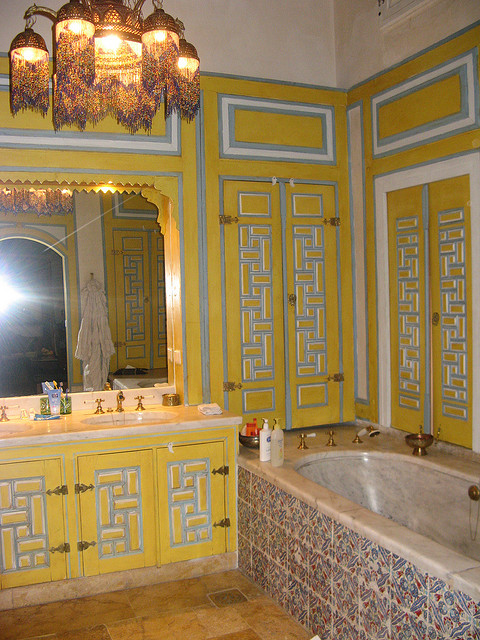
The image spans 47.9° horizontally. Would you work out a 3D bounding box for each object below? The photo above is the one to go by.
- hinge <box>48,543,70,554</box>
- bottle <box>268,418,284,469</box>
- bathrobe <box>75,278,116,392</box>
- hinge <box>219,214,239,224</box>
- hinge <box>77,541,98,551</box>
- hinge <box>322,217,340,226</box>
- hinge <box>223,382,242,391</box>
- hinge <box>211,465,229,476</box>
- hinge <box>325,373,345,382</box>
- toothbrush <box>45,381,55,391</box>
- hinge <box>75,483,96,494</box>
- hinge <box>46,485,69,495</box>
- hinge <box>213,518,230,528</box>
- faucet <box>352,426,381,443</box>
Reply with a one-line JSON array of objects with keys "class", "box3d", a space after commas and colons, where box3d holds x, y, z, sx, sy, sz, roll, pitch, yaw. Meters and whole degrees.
[{"class": "hinge", "box3d": [-0.803, 1.036, 2.441, 0.058, 0.020, 0.039, -1, 1, -16]}, {"class": "bottle", "box3d": [0.172, 0.597, 2.621, 0.064, 0.220, 0.108, -1, -1, 2]}, {"class": "bathrobe", "box3d": [-0.808, 0.086, 3.014, 0.223, 0.616, 0.038, -1, -1, -38]}, {"class": "hinge", "box3d": [-0.064, -0.601, 3.199, 0.127, 0.056, 0.012, -2, -1, -30]}, {"class": "hinge", "box3d": [-0.708, 1.044, 2.476, 0.060, 0.044, 0.017, 1, -7, -33]}, {"class": "hinge", "box3d": [0.604, -0.659, 3.533, 0.090, 0.059, 0.025, -2, 5, -15]}, {"class": "hinge", "box3d": [-0.050, 0.405, 3.220, 0.077, 0.056, 0.025, 1, -3, -21]}, {"class": "hinge", "box3d": [-0.093, 0.770, 2.724, 0.059, 0.056, 0.016, -2, -1, -16]}, {"class": "hinge", "box3d": [0.640, 0.370, 3.571, 0.088, 0.055, 0.055, -5, 3, -16]}, {"class": "toothbrush", "box3d": [-1.002, 0.348, 2.847, 0.062, 0.018, 0.014, 42, 10, 36]}, {"class": "hinge", "box3d": [-0.710, 0.771, 2.472, 0.083, 0.045, 0.006, -2, -1, -22]}, {"class": "hinge", "box3d": [-0.819, 0.770, 2.426, 0.088, 0.045, 0.007, -2, -1, -21]}, {"class": "hinge", "box3d": [-0.084, 1.038, 2.750, 0.057, 0.044, 0.021, -3, 3, -27]}, {"class": "faucet", "box3d": [0.733, 0.662, 3.139, 0.142, 0.114, 0.083, -8, -10, 35]}]
